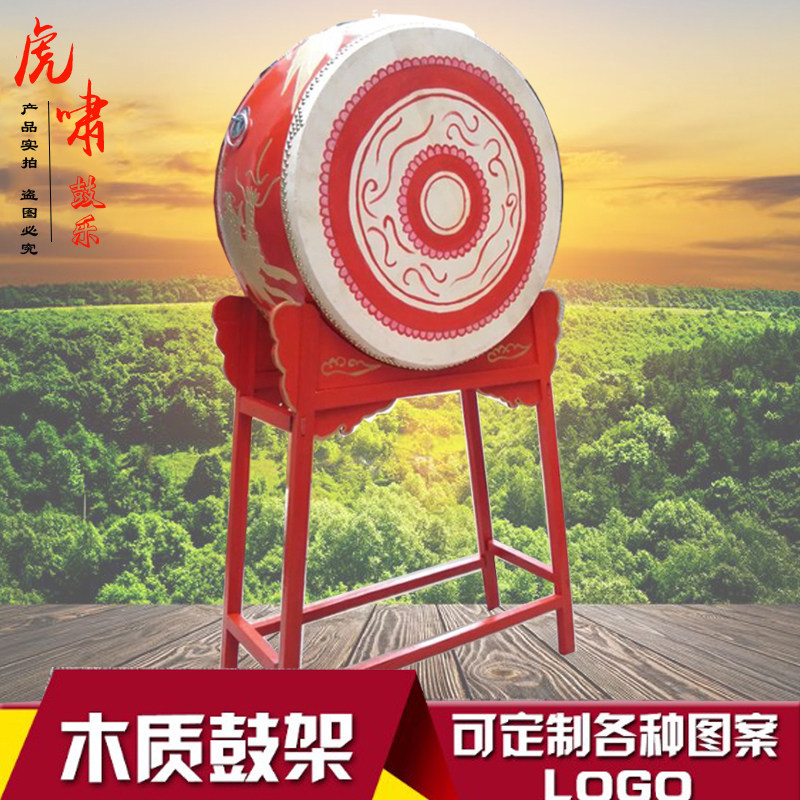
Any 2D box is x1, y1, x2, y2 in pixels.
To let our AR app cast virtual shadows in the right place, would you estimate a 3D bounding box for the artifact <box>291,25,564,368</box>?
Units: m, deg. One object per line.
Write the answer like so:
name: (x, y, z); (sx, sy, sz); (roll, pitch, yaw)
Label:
artifact: (0.041, -0.406, 1.643); (0.624, 0.772, 0.251); (-8, 14, -28)
